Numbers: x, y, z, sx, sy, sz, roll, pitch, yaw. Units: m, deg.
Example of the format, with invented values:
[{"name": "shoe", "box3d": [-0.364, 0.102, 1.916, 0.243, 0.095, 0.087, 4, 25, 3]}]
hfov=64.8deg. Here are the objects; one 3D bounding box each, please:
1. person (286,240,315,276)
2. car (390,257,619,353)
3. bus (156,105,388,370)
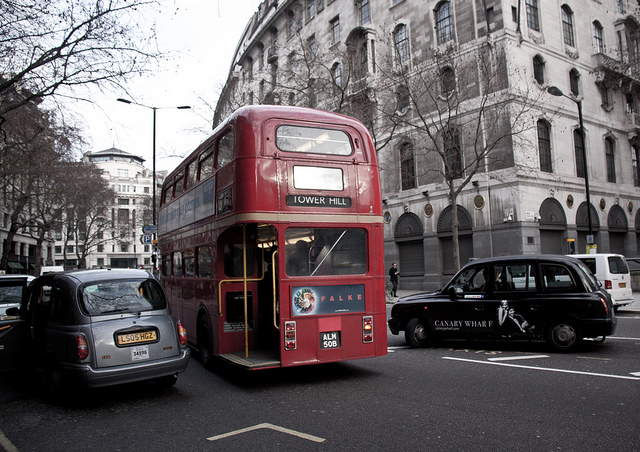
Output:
[{"name": "person", "box3d": [-0.429, 0.650, 10.498, 0.486, 1.045, 0.418, 6, 15, 15]}, {"name": "car", "box3d": [4.927, 2.007, 13.749, 4.917, 2.185, 2.623, -2, -6, 26]}, {"name": "bus", "box3d": [-2.497, 0.552, 15.271, 3.472, 5.884, 11.001, -1, -3, -27]}]
